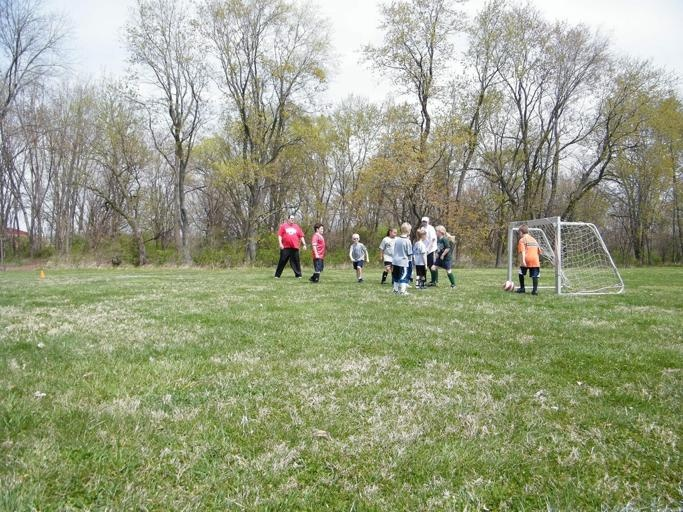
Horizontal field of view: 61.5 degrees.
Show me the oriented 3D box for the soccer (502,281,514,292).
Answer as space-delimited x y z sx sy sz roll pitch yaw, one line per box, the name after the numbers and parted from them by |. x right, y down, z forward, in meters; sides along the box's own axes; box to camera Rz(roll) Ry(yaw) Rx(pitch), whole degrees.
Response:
5.990 1.090 20.663 0.307 0.367 0.336 1 35 -17 | soccer

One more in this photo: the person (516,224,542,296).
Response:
6.545 0.095 20.141 0.731 2.449 1.585 0 -1 18 | person
